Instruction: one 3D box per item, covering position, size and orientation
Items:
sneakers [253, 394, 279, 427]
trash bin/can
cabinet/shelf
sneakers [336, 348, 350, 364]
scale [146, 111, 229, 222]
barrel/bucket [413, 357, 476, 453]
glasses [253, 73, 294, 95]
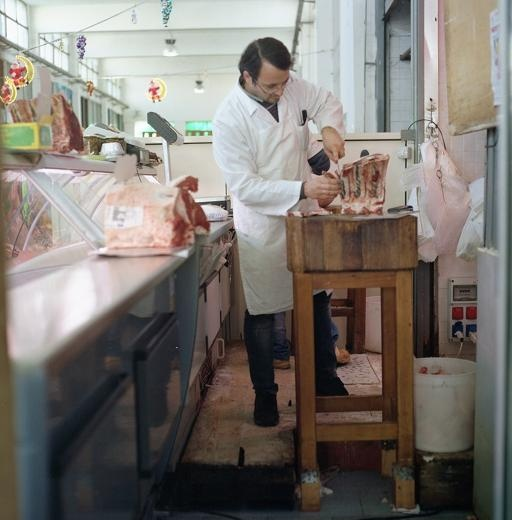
[{"bbox_3d":[0.046,0.677,2.298,0.079,0.160,0.148,2,-16,-1],"label":"sneakers"},{"bbox_3d":[0.692,0.559,2.018,0.238,0.346,0.288,-1,-2,3],"label":"trash bin/can"},{"bbox_3d":[-0.474,-0.095,1.349,0.186,0.433,0.396,1,5,6],"label":"cabinet/shelf"},{"bbox_3d":[0.502,0.556,2.996,0.089,0.051,0.139,2,9,-1],"label":"sneakers"},{"bbox_3d":[-0.314,-0.444,2.471,0.300,0.528,0.305,-9,8,9],"label":"scale"},{"bbox_3d":[0.697,0.548,2.014,0.248,0.350,0.281,-1,-2,2],"label":"barrel/bucket"},{"bbox_3d":[0.066,-0.737,2.152,0.131,0.074,0.126,2,13,-2],"label":"glasses"}]
